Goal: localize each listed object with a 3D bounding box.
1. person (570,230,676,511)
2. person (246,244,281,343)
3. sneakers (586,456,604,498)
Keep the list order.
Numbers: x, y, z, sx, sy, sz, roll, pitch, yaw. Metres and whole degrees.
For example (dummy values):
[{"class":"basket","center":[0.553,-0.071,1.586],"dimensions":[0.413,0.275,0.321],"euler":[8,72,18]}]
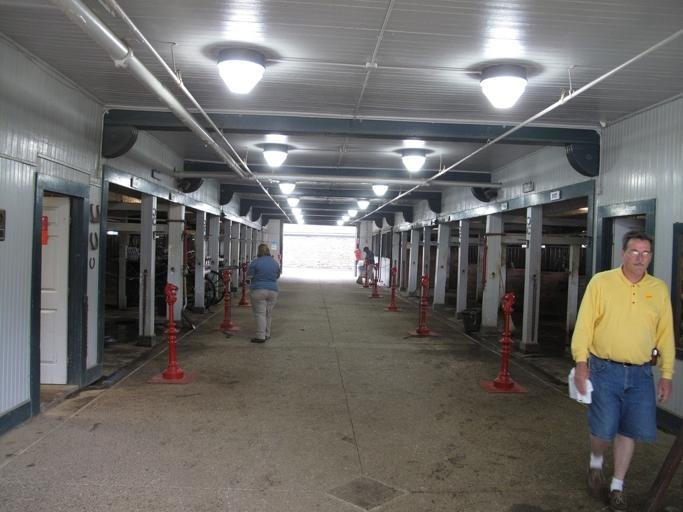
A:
[{"class":"person","center":[2.464,0.985,4.384],"dimensions":[0.892,2.398,0.614],"euler":[-1,5,-34]},{"class":"person","center":[-1.634,0.725,10.433],"dimensions":[0.611,1.968,1.131],"euler":[1,4,-8]},{"class":"sneakers","center":[2.286,1.995,4.563],"dimensions":[0.128,0.383,0.164],"euler":[0,-15,23]}]
